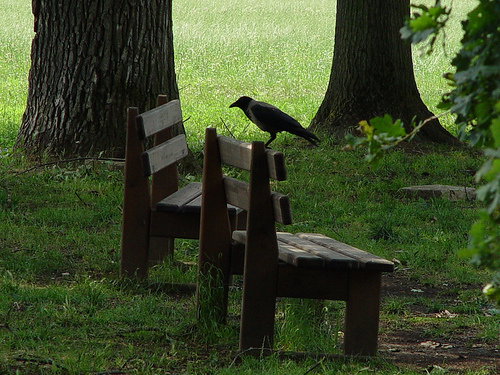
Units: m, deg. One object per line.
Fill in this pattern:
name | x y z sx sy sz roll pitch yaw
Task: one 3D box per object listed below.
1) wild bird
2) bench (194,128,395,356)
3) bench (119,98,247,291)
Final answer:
wild bird | 0.642 -0.977 12.167 1.798 0.992 0.565 4 3 5
bench | 0.346 0.508 8.215 1.347 1.971 2.524 2 4 -16
bench | -0.768 0.147 8.773 1.133 1.994 2.015 2 12 4
